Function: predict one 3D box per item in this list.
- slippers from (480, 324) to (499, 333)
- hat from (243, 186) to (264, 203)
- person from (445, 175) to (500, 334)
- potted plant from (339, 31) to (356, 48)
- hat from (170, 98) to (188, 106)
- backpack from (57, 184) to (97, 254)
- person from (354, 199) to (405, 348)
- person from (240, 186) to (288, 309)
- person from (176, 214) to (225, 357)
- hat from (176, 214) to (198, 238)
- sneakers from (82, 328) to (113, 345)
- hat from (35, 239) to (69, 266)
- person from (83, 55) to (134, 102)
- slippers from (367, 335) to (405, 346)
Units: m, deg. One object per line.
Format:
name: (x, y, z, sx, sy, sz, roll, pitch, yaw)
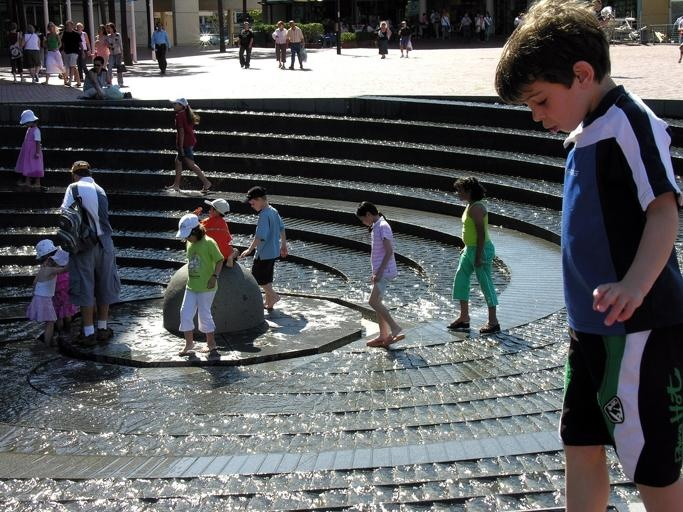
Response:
slippers: (1.743, 0.862, 6.484, 0.248, 0.093, 0.090, -1, 1, -3)
hat: (-1.247, -0.910, 8.085, 0.219, 0.207, 0.179, -7, -2, -22)
person: (1.555, 0.003, 6.732, 0.618, 1.874, 0.787, -8, -2, 10)
potted plant: (0.574, -16.727, 42.464, 1.442, 1.310, 1.392, -5, 31, -11)
hat: (-3.505, -3.384, 12.060, 0.257, 0.133, 0.164, 4, 8, -5)
backpack: (-3.425, -0.476, 7.125, 0.451, 0.736, 0.333, -7, -2, -18)
person: (0.446, 0.235, 6.779, 0.480, 1.708, 0.560, -8, -2, 2)
person: (-1.137, -0.094, 8.245, 0.637, 1.679, 0.739, -7, -2, -7)
person: (-1.729, 0.355, 6.629, 0.662, 1.485, 0.351, -8, -2, 1)
hat: (-1.830, -0.362, 6.625, 0.239, 0.261, 0.286, -7, -1, -13)
sneakers: (-3.250, 1.098, 7.380, 0.189, 0.135, 0.332, 5, 12, 29)
hat: (-3.929, 0.004, 7.710, 0.371, 0.245, 0.468, -26, -17, 18)
person: (-7.099, -5.371, 16.488, 1.122, 1.240, 1.686, -7, -1, -30)
slippers: (0.525, 1.077, 6.841, 0.465, 0.159, 0.161, -10, 6, 18)
